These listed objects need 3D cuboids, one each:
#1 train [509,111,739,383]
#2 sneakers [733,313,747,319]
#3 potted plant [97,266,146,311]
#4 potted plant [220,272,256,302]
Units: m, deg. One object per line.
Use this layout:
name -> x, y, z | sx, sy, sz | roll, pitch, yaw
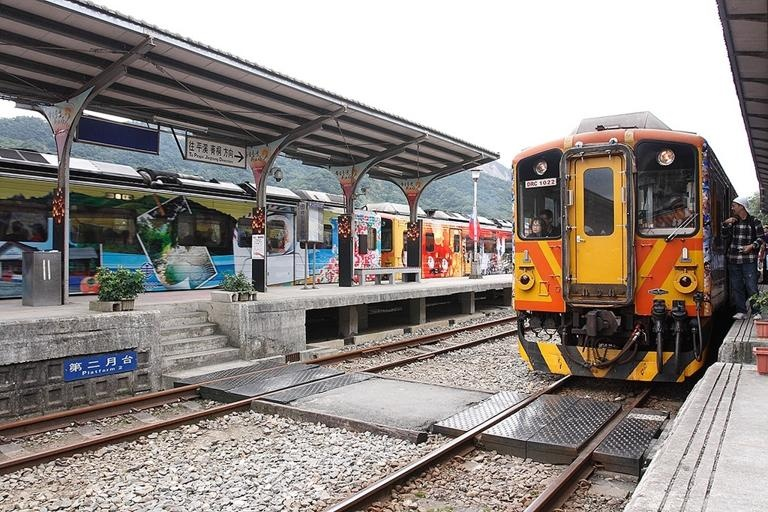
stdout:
train -> 4.097, -0.144, 8.678 | 3.450, 4.535, 1.886 | 2, 8, 25
sneakers -> 7.053, 1.189, 9.436 | 0.318, 0.115, 0.110 | 1, -4, -15
potted plant -> -5.247, 0.662, 9.524 | 0.551, 0.726, 0.826 | 4, 1, 38
potted plant -> -3.601, 0.737, 11.759 | 0.715, 0.672, 0.722 | -5, 8, -29
